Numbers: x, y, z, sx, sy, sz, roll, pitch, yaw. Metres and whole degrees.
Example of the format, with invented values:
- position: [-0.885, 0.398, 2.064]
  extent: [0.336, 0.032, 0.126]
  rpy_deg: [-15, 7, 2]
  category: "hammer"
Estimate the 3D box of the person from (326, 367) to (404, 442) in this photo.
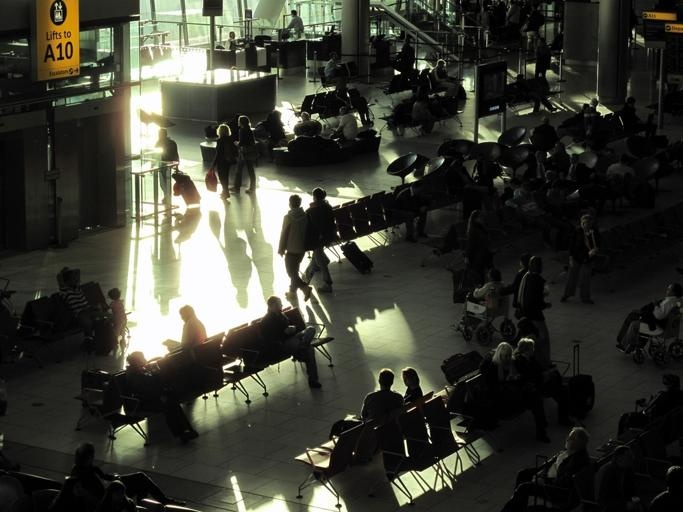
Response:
- position: [0.269, 1.549, 7.649]
  extent: [0.768, 0.651, 0.513]
  rpy_deg: [-4, 9, 2]
  category: "person"

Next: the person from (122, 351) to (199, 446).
- position: [-2.133, 1.533, 9.065]
  extent: [1.052, 1.252, 1.012]
  rpy_deg: [-7, 9, -18]
  category: "person"

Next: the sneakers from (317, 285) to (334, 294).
- position: [-0.275, 0.576, 13.267]
  extent: [0.299, 0.196, 0.113]
  rpy_deg: [11, 23, 20]
  category: "sneakers"

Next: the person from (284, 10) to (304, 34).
- position: [-2.229, -11.188, 35.258]
  extent: [0.618, 1.181, 0.971]
  rpy_deg: [-3, 9, 10]
  category: "person"

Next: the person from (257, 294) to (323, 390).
- position: [-0.646, 1.144, 9.881]
  extent: [0.799, 1.293, 0.733]
  rpy_deg: [-14, -5, 37]
  category: "person"

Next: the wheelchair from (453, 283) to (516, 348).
- position: [2.136, 0.791, 11.351]
  extent: [1.033, 0.932, 0.720]
  rpy_deg: [21, 32, 38]
  category: "wheelchair"

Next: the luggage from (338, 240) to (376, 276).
- position: [0.296, 0.031, 14.181]
  extent: [0.403, 0.752, 0.202]
  rpy_deg: [-43, 3, -10]
  category: "luggage"

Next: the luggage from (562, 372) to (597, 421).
- position: [2.939, 1.700, 9.023]
  extent: [0.413, 0.519, 0.271]
  rpy_deg: [-5, 9, -3]
  category: "luggage"
